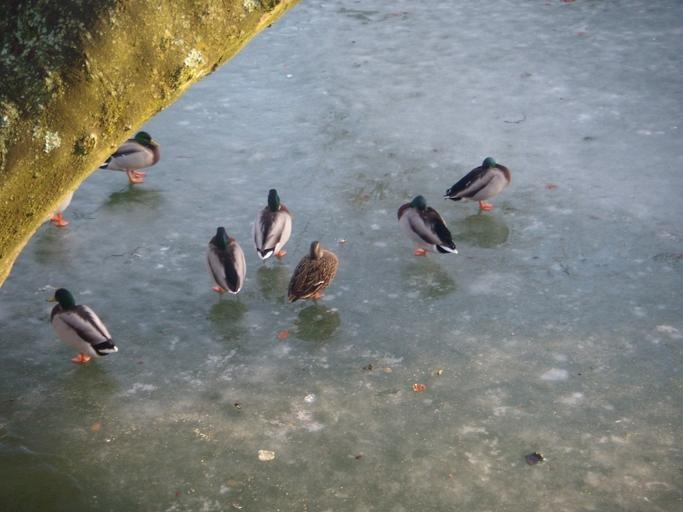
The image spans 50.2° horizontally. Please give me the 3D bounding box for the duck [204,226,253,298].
[{"bbox_3d":[-1.299,0.067,8.237,0.503,0.515,0.749,-6,62,-5],"label":"duck"}]

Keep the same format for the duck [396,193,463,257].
[{"bbox_3d":[1.112,-0.362,8.749,0.590,0.640,0.952,-24,43,-15],"label":"duck"}]

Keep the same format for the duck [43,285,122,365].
[{"bbox_3d":[-2.575,0.684,7.356,1.058,0.720,0.490,14,27,31],"label":"duck"}]

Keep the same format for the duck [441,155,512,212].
[{"bbox_3d":[1.682,-0.972,9.571,1.084,0.583,0.496,-20,42,-26],"label":"duck"}]

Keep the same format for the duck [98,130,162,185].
[{"bbox_3d":[-3.115,-1.428,10.351,1.137,0.547,0.491,-5,14,-14],"label":"duck"}]
